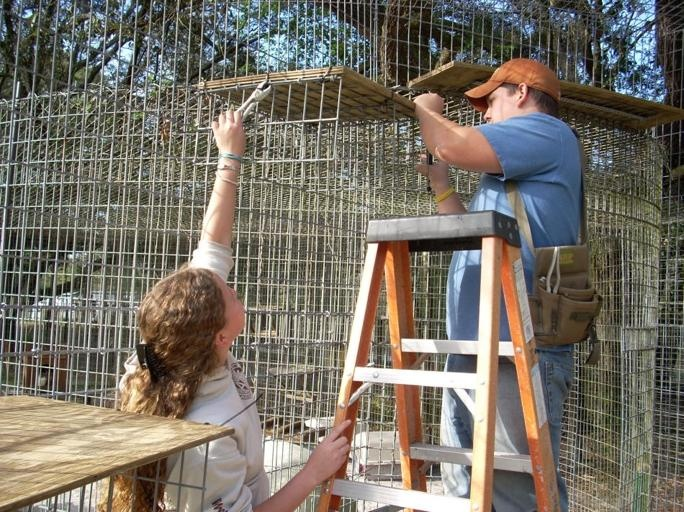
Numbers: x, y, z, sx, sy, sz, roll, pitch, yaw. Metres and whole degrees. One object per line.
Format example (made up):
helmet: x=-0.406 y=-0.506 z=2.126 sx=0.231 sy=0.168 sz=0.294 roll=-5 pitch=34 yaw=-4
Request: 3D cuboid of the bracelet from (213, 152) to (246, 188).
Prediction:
bracelet: x=-0.561 y=-0.418 z=3.402 sx=0.137 sy=0.219 sz=0.146 roll=3 pitch=0 yaw=-17

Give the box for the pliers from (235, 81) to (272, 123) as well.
pliers: x=-0.479 y=-0.842 z=3.697 sx=0.324 sy=0.095 sz=0.073 roll=-41 pitch=19 yaw=-6

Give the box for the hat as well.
hat: x=0.913 y=-0.887 z=3.645 sx=0.406 sy=0.250 sz=0.285 roll=17 pitch=6 yaw=18
